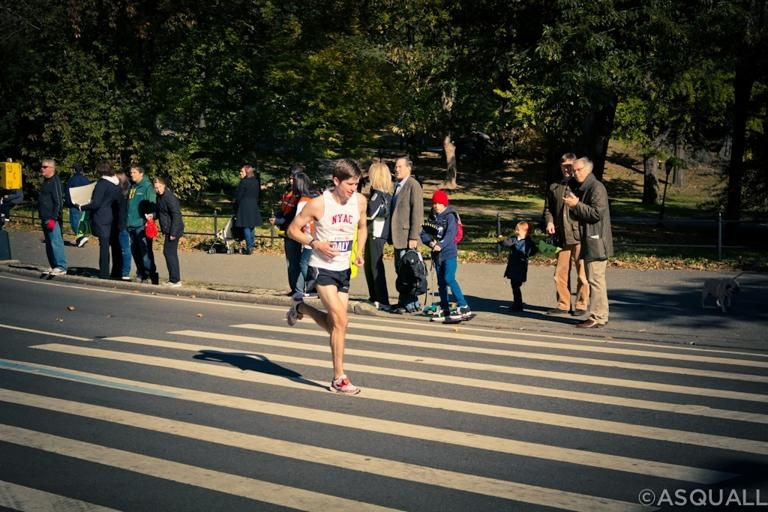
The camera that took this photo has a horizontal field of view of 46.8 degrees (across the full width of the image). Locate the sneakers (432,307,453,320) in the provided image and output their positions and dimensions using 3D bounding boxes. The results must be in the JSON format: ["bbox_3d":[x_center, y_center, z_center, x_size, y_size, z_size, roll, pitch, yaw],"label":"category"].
[{"bbox_3d":[1.165,1.163,17.559,0.465,0.216,0.171,1,1,24],"label":"sneakers"}]

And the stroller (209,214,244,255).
[{"bbox_3d":[-4.556,-0.542,25.626,1.164,1.429,0.881,4,5,7],"label":"stroller"}]

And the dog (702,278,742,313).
[{"bbox_3d":[6.879,0.768,18.264,0.378,0.640,1.123,1,1,-19],"label":"dog"}]

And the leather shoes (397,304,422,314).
[{"bbox_3d":[0.530,1.073,18.244,0.559,0.239,0.191,3,1,7],"label":"leather shoes"}]

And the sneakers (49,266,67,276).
[{"bbox_3d":[-7.866,0.387,21.478,0.378,0.156,0.172,-2,-7,-2],"label":"sneakers"}]

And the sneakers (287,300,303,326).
[{"bbox_3d":[-1.426,0.971,14.173,0.243,0.543,0.203,8,15,15],"label":"sneakers"}]

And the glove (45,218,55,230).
[{"bbox_3d":[-7.869,-0.728,20.946,0.184,0.249,0.103,4,10,0],"label":"glove"}]

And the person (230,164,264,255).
[{"bbox_3d":[-3.899,-1.312,25.183,0.745,2.644,1.518,-3,15,-10],"label":"person"}]

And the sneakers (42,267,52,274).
[{"bbox_3d":[-8.185,0.376,21.650,0.398,0.183,0.151,5,-1,42],"label":"sneakers"}]

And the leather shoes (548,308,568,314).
[{"bbox_3d":[3.533,1.132,18.069,0.390,0.164,0.141,5,-3,3],"label":"leather shoes"}]

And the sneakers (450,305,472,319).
[{"bbox_3d":[1.572,1.125,17.456,0.508,0.225,0.182,7,-6,-32],"label":"sneakers"}]

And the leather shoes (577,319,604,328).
[{"bbox_3d":[3.962,1.306,17.082,0.492,0.198,0.192,2,-1,-2],"label":"leather shoes"}]

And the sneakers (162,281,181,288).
[{"bbox_3d":[-4.818,0.675,20.158,0.381,0.164,0.166,4,2,9],"label":"sneakers"}]

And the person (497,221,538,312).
[{"bbox_3d":[2.840,0.163,18.712,0.720,1.892,1.483,1,15,8],"label":"person"}]

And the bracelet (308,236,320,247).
[{"bbox_3d":[-1.071,-0.184,13.690,0.164,0.125,0.171,-2,15,-5],"label":"bracelet"}]

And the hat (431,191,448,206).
[{"bbox_3d":[1.071,-1.097,17.448,0.253,0.321,0.349,0,14,16],"label":"hat"}]

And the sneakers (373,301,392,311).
[{"bbox_3d":[-0.012,1.053,18.326,0.398,0.169,0.146,9,13,-3],"label":"sneakers"}]

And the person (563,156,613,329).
[{"bbox_3d":[3.936,-0.240,17.071,0.861,3.080,1.000,-3,15,-8],"label":"person"}]
